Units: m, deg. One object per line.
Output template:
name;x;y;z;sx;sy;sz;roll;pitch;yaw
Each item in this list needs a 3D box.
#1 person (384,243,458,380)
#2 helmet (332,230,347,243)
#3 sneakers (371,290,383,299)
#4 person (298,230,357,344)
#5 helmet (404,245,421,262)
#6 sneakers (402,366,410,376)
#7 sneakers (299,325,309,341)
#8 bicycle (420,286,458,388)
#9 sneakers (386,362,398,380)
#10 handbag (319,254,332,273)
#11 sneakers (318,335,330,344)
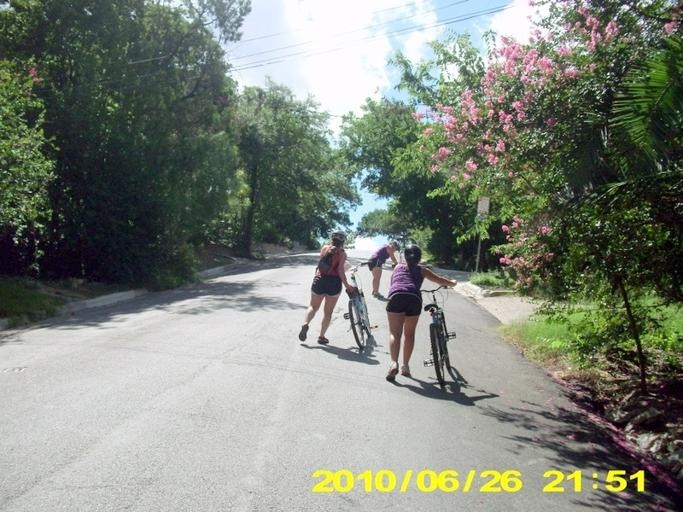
person;1.081;0.885;8.260;1.125;2.128;0.544;0;4;-40
helmet;-0.055;-0.421;10.254;0.189;0.235;0.265;21;-17;8
sneakers;1.254;1.310;16.876;0.468;0.204;0.158;22;4;-44
person;-0.260;0.612;10.140;1.068;2.208;0.800;2;3;-11
helmet;1.188;-0.039;8.414;0.202;0.298;0.282;3;11;-1
sneakers;1.036;1.861;8.137;0.099;0.169;0.157;0;-8;2
sneakers;-0.721;1.482;9.763;0.141;0.328;0.207;10;-8;-1
bicycle;1.636;1.483;8.504;0.660;0.973;1.517;-8;-19;7
sneakers;0.799;1.837;7.871;0.118;0.346;0.150;7;38;-6
handbag;-0.310;0.156;10.116;0.209;0.342;0.173;20;-1;15
sneakers;-0.350;1.640;9.991;0.233;0.170;0.273;2;3;-7
